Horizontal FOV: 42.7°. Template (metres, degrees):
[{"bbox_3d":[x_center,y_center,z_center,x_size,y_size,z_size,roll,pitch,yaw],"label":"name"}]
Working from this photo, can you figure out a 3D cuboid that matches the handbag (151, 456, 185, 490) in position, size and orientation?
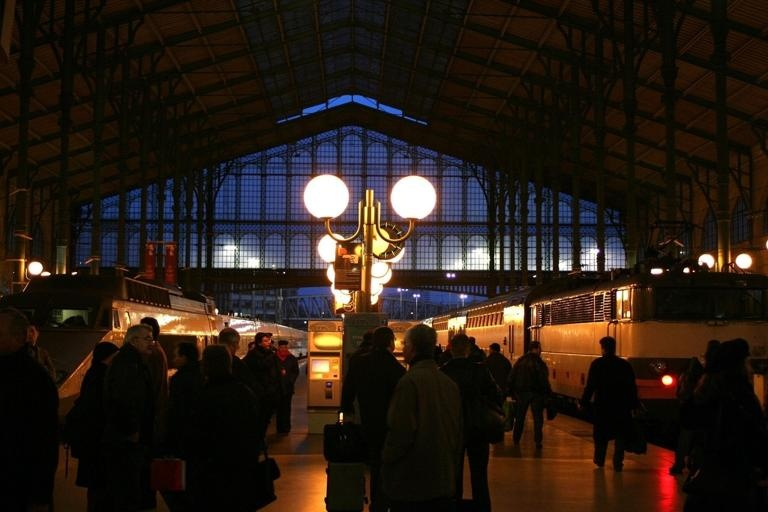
[{"bbox_3d":[-3.712,3.808,17.148,0.545,0.558,0.528,1,-2,1],"label":"handbag"}]

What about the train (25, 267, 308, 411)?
[{"bbox_3d":[-8.515,3.082,37.166,2.926,4.726,19.200,-3,-11,9],"label":"train"}]

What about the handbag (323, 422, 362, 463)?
[{"bbox_3d":[-0.758,3.425,17.823,0.847,0.851,0.197,-2,0,0],"label":"handbag"}]
